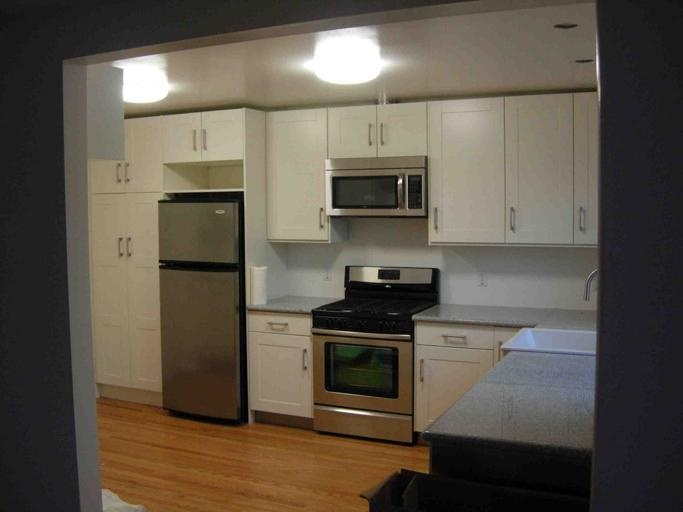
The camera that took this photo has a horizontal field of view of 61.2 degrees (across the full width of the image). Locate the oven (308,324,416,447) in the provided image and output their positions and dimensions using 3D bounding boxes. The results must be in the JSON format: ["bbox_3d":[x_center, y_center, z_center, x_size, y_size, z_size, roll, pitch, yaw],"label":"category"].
[{"bbox_3d":[0.201,0.859,4.541,0.875,1.111,0.710,0,-3,20],"label":"oven"}]

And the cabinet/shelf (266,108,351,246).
[{"bbox_3d":[-0.400,-0.637,4.759,0.505,0.968,0.452,-1,10,-14],"label":"cabinet/shelf"}]

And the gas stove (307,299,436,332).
[{"bbox_3d":[0.257,0.470,4.443,0.837,0.199,0.622,0,8,29],"label":"gas stove"}]

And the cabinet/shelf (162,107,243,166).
[{"bbox_3d":[-1.111,-0.956,4.746,0.757,0.409,0.250,-1,0,10],"label":"cabinet/shelf"}]

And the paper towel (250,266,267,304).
[{"bbox_3d":[-0.647,0.229,4.557,0.151,0.302,0.073,-4,6,-34],"label":"paper towel"}]

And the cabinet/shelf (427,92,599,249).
[{"bbox_3d":[1.211,-0.600,3.974,1.028,0.921,0.410,1,2,16],"label":"cabinet/shelf"}]
